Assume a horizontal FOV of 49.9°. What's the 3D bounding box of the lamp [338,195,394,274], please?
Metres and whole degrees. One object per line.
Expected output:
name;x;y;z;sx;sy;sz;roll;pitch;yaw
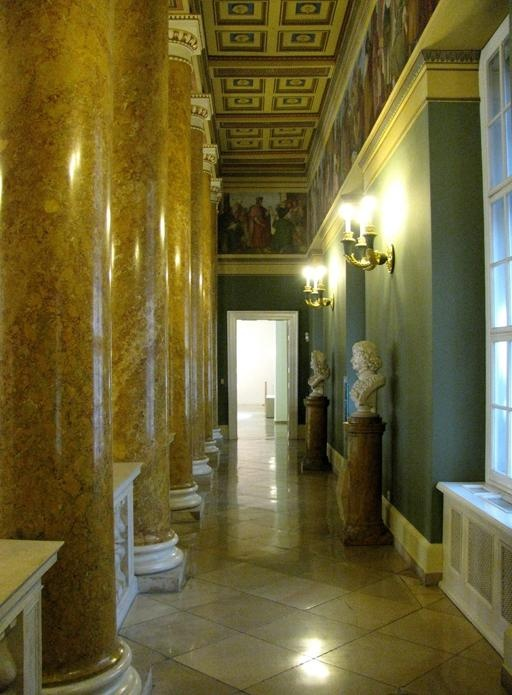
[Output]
lamp;1.115;-1.120;5.449;0.486;0.676;0.409;-19;23;-36

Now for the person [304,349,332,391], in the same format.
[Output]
person;1.187;0.449;10.205;0.383;0.802;0.545;0;-4;8
